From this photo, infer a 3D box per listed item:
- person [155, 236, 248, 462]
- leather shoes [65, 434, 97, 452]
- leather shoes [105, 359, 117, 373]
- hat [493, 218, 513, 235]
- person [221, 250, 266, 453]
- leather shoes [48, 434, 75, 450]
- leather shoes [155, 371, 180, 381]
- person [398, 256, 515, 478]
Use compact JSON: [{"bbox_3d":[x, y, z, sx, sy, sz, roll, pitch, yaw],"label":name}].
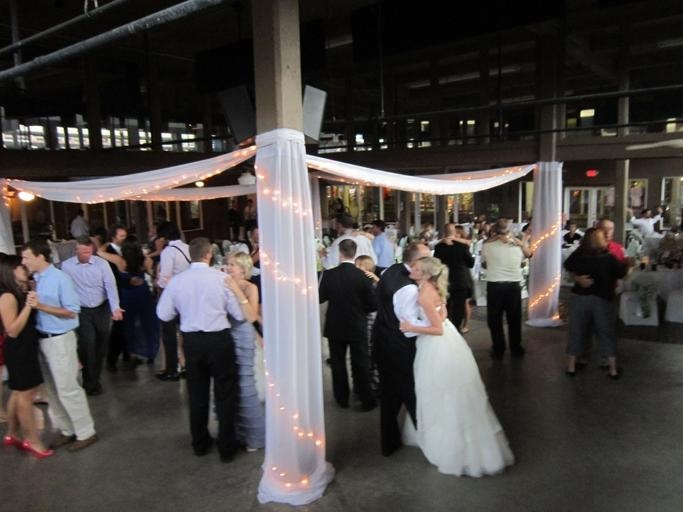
[{"bbox_3d":[-1.227,0.855,5.031,0.755,1.983,0.302,-3,5,-14],"label":"person"},{"bbox_3d":[-2.495,1.772,5.327,0.268,0.107,0.098,5,0,-36],"label":"leather shoes"},{"bbox_3d":[-2.912,1.397,7.034,0.182,0.182,0.085,2,1,13],"label":"leather shoes"},{"bbox_3d":[2.055,-0.363,7.077,0.181,0.206,0.207,-9,-11,20],"label":"hat"},{"bbox_3d":[-0.971,0.881,5.229,0.482,1.776,0.453,0,-6,-40],"label":"person"},{"bbox_3d":[-2.740,1.794,5.443,0.249,0.099,0.128,8,-3,-28],"label":"leather shoes"},{"bbox_3d":[-2.095,1.449,6.699,0.298,0.120,0.110,5,-4,8],"label":"leather shoes"},{"bbox_3d":[1.004,0.969,5.153,1.025,1.891,0.976,-2,0,22],"label":"person"}]
